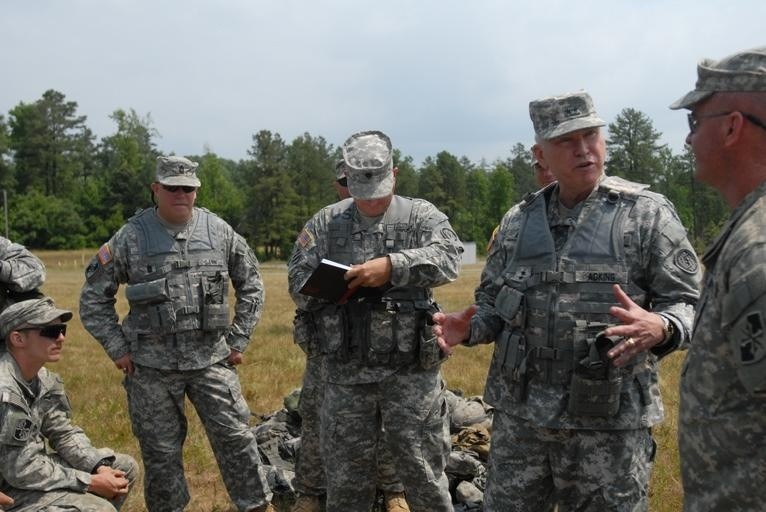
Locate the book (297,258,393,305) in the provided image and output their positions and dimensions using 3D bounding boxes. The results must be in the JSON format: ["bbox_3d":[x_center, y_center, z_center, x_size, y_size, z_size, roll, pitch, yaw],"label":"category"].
[{"bbox_3d":[-0.341,0.268,6.510,0.459,0.110,0.458,18,-39,-25],"label":"book"}]

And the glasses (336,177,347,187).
[{"bbox_3d":[-0.437,-0.796,8.310,0.126,0.078,0.163,-14,4,-6],"label":"glasses"}]

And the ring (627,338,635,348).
[{"bbox_3d":[1.709,0.605,5.367,0.047,0.046,0.012,34,27,4],"label":"ring"}]
